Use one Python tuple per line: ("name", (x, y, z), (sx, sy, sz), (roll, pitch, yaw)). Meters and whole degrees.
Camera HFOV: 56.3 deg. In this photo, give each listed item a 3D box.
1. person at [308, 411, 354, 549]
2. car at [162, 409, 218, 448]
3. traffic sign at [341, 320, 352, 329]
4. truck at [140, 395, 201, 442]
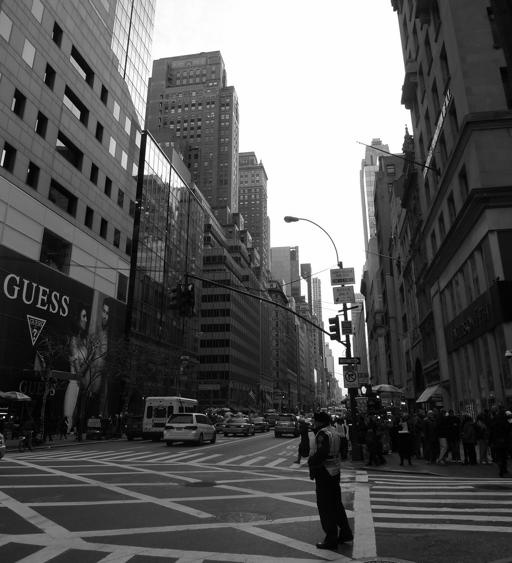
("person", (0.981, 2.562, 6.352), (0.523, 1.719, 0.787), (-3, -17, 12))
("car", (-3.627, 8.345, 27.730), (1.451, 1.621, 3.726), (-2, -11, 9))
("traffic sign", (3.820, 1.836, 20.161), (0.566, 0.231, 0.766), (0, -3, 9))
("truck", (-5.749, 9.294, 32.803), (1.956, 2.916, 4.395), (-2, -13, 10))
